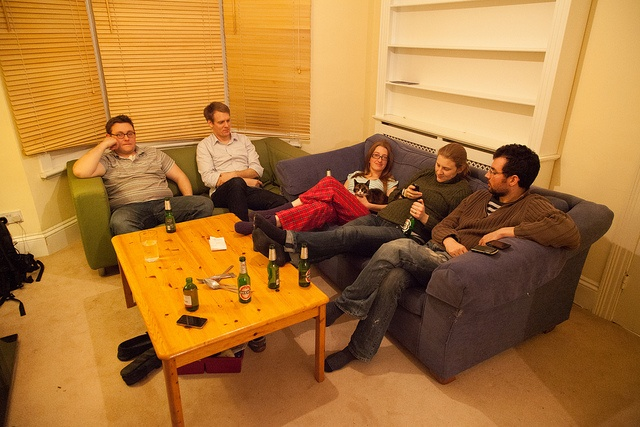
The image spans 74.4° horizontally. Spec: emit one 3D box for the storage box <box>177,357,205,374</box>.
[{"bbox_3d":[-0.945,1.124,3.090,0.162,0.122,0.160,0,2,-7],"label":"storage box"}]

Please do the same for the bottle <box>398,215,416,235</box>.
[{"bbox_3d":[0.746,0.091,3.596,0.041,0.155,0.107,15,33,-33],"label":"bottle"}]

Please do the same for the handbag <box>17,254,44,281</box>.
[{"bbox_3d":[-2.735,0.505,4.008,0.251,0.246,0.178,2,18,-28],"label":"handbag"}]

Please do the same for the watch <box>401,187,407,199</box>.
[{"bbox_3d":[0.748,-0.183,3.775,0.054,0.064,0.069,14,38,21],"label":"watch"}]

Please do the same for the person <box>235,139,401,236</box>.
[{"bbox_3d":[0.013,-0.118,4.063,1.639,0.837,0.689,-13,25,-7],"label":"person"}]

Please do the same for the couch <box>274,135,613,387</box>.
[{"bbox_3d":[0.913,0.150,4.181,1.743,1.187,2.770,-13,27,-29],"label":"couch"}]

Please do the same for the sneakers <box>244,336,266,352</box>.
[{"bbox_3d":[-0.500,1.032,3.299,0.099,0.112,0.168,-7,23,-24],"label":"sneakers"}]

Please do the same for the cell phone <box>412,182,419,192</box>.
[{"bbox_3d":[0.847,-0.236,3.737,0.085,0.090,0.015,3,-3,-19],"label":"cell phone"}]

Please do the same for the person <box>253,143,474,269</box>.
[{"bbox_3d":[0.429,-0.041,3.757,2.002,1.115,0.843,-7,40,-3],"label":"person"}]
